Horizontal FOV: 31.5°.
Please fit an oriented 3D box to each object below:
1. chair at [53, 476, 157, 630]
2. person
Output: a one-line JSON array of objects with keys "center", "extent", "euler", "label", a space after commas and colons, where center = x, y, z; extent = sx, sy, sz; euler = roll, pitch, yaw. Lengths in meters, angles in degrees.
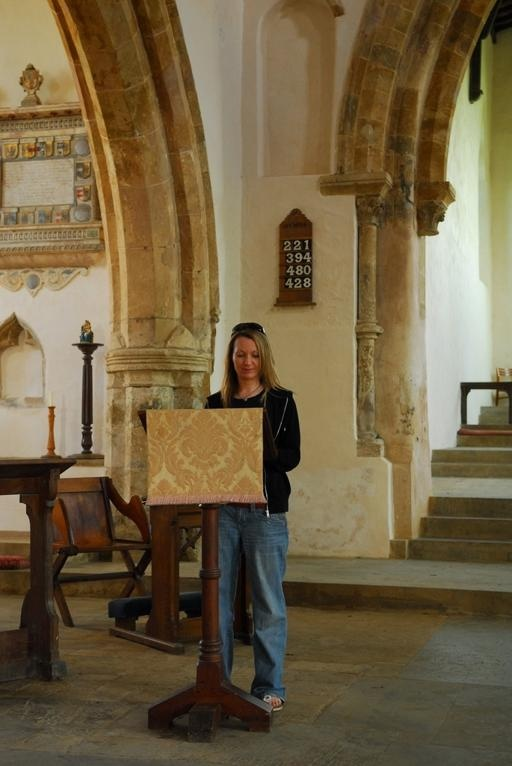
[{"center": [-0.906, 0.981, 5.280], "extent": [0.502, 0.702, 0.530], "euler": [-7, -23, 18], "label": "chair"}, {"center": [-0.008, 0.449, 3.097], "extent": [0.320, 1.329, 0.258], "euler": [0, -5, -3], "label": "person"}]
